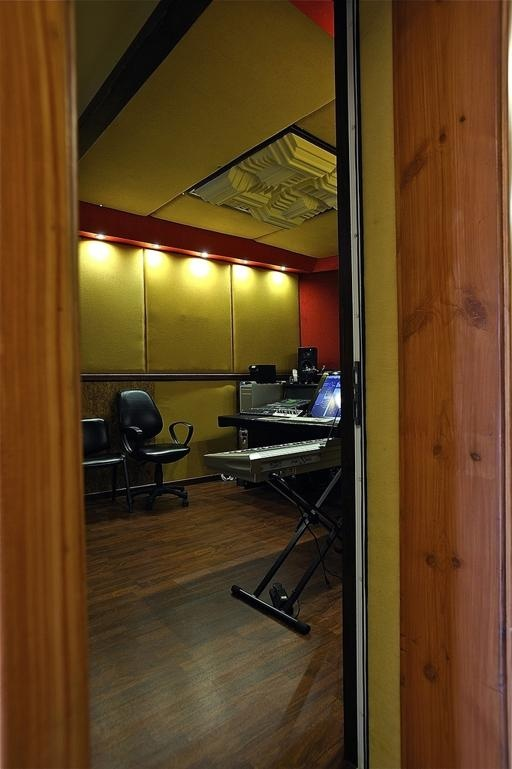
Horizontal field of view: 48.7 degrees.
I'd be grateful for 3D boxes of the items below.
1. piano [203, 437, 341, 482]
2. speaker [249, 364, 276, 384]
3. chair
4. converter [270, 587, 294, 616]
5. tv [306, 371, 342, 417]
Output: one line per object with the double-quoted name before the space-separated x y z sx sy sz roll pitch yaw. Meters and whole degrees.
"piano" 0.093 0.322 2.550 0.632 0.133 0.302 -2 3 -45
"speaker" 0.060 -0.123 6.131 0.271 0.192 0.381 0 2 3
"chair" -1.034 0.551 4.915 0.931 0.999 1.024 -1 2 -23
"converter" 0.120 1.022 2.676 0.061 0.046 0.112 -4 9 -13
"tv" 0.521 0.076 4.254 0.224 0.338 0.515 -1 2 -5
